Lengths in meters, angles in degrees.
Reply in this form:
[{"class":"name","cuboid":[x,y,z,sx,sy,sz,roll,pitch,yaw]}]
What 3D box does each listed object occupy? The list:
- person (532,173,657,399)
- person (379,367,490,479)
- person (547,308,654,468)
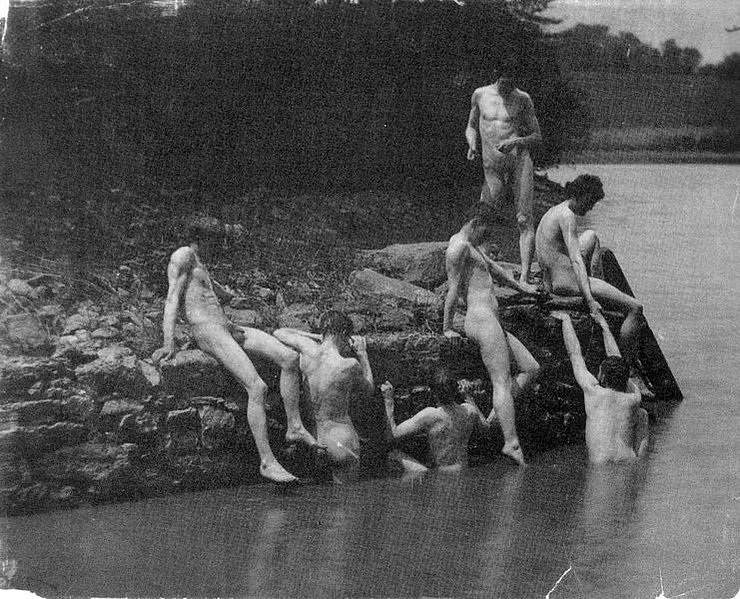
[{"class":"person","cuboid":[1.523,-0.130,6.591,0.703,1.473,0.682,-2,4,-4]},{"class":"person","cuboid":[0.469,0.830,6.378,0.790,0.822,0.417,-3,5,-27]},{"class":"person","cuboid":[1.537,0.585,6.373,0.636,0.999,0.279,0,11,12]}]
